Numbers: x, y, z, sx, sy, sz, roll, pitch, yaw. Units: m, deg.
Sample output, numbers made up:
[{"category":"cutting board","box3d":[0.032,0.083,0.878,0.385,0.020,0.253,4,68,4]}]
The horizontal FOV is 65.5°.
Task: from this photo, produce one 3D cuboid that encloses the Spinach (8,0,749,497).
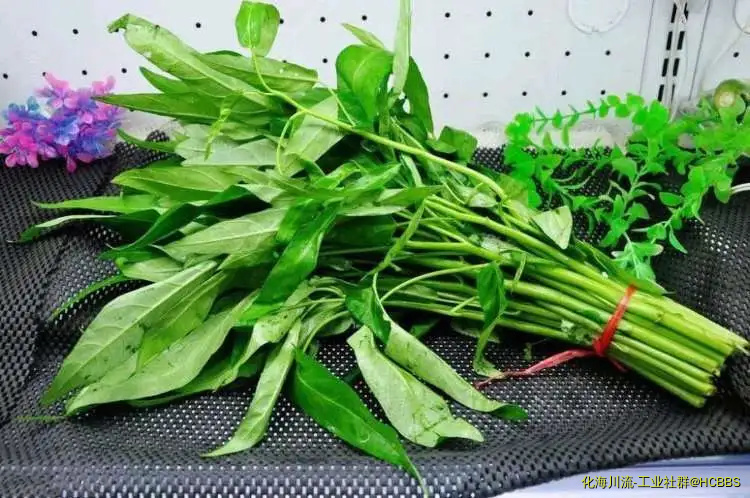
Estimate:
[{"category":"Spinach","box3d":[-0.059,-0.020,0.835,1.207,0.540,0.480,3,21,-1]}]
